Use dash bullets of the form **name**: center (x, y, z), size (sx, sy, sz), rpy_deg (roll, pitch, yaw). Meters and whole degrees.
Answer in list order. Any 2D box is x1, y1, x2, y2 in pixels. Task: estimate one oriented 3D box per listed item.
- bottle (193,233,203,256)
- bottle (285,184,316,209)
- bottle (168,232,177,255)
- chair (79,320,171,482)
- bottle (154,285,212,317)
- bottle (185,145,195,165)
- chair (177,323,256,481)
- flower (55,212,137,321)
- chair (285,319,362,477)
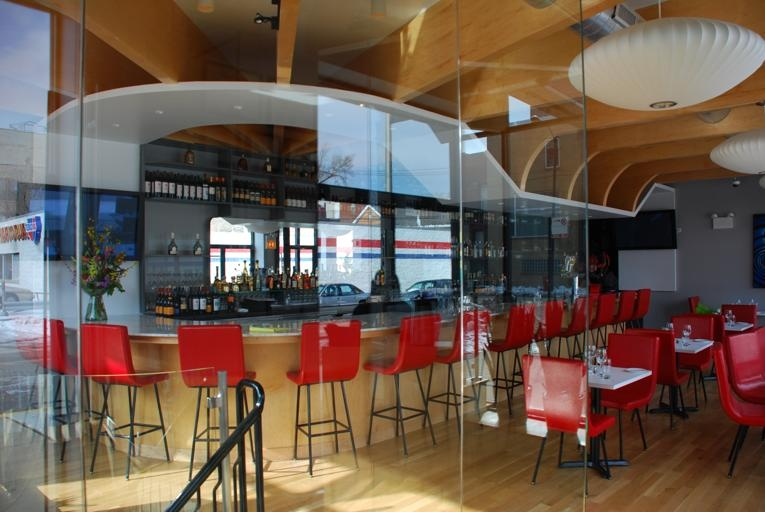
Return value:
- **bottle**: center (-2.124, -0.114, 6.816), size (0.042, 0.231, 0.131), rpy_deg (-1, 0, 38)
- **bottle**: center (-1.039, -0.726, 7.327), size (0.301, 0.273, 0.137), rpy_deg (1, 5, -25)
- **bottle**: center (-2.344, -0.125, 6.648), size (0.113, 0.255, 0.057), rpy_deg (-1, 0, -32)
- **chair**: center (-1.985, 1.108, 4.614), size (0.603, 1.252, 0.573), rpy_deg (-1, 0, -21)
- **bottle**: center (-2.208, 0.529, 6.598), size (0.388, 0.243, 0.394), rpy_deg (0, -2, 0)
- **bottle**: center (-2.165, -1.104, 6.684), size (0.142, 0.175, 0.098), rpy_deg (-1, 0, -42)
- **chair**: center (-1.373, 1.123, 4.833), size (0.630, 1.159, 0.741), rpy_deg (-1, 0, -8)
- **flower**: center (-2.517, 0.268, 5.337), size (0.440, 0.591, 0.377), rpy_deg (-2, -9, 14)
- **chair**: center (-0.488, 1.165, 4.964), size (0.663, 1.092, 0.364), rpy_deg (-1, 0, 6)
